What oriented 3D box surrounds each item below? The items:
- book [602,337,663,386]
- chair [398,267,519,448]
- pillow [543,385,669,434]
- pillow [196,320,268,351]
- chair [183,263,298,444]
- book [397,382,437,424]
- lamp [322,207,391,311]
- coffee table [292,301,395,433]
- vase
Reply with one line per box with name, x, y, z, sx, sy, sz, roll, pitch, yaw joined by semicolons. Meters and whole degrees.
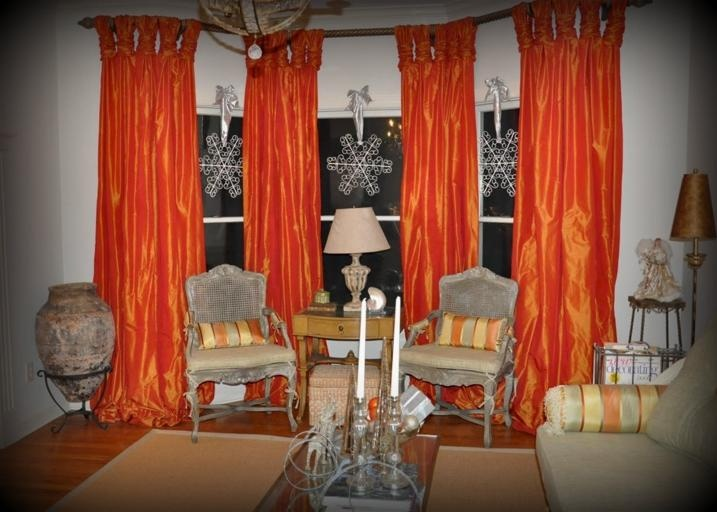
book;2.115;0.837;4.786;0.463;0.485;0.281;0;-3;5
chair;0.873;0.814;5.216;0.942;1.366;0.835;2;2;33
pillow;1.697;1.038;4.133;0.815;0.327;0.282;4;-3;-11
pillow;-1.152;0.697;5.383;0.411;0.255;0.109;-2;-29;-21
chair;-1.035;0.803;5.356;1.023;1.441;1.062;-1;3;0
book;0.351;0.947;3.839;0.174;0.197;0.219;7;16;29
lamp;-0.013;0.013;5.619;0.568;0.931;0.352;3;14;15
coffee table;-0.090;1.023;5.617;0.896;0.995;0.583;0;-8;7
vase;-2.428;0.758;5.235;0.615;1.024;0.301;-8;15;-28
